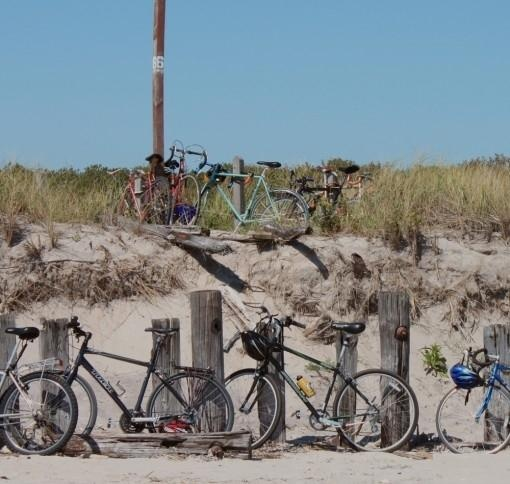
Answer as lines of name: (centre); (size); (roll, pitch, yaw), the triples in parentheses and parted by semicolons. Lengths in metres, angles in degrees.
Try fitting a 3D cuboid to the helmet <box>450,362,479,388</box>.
helmet: (2.430, 1.521, 16.681); (0.335, 0.285, 0.199); (0, -1, 11)
